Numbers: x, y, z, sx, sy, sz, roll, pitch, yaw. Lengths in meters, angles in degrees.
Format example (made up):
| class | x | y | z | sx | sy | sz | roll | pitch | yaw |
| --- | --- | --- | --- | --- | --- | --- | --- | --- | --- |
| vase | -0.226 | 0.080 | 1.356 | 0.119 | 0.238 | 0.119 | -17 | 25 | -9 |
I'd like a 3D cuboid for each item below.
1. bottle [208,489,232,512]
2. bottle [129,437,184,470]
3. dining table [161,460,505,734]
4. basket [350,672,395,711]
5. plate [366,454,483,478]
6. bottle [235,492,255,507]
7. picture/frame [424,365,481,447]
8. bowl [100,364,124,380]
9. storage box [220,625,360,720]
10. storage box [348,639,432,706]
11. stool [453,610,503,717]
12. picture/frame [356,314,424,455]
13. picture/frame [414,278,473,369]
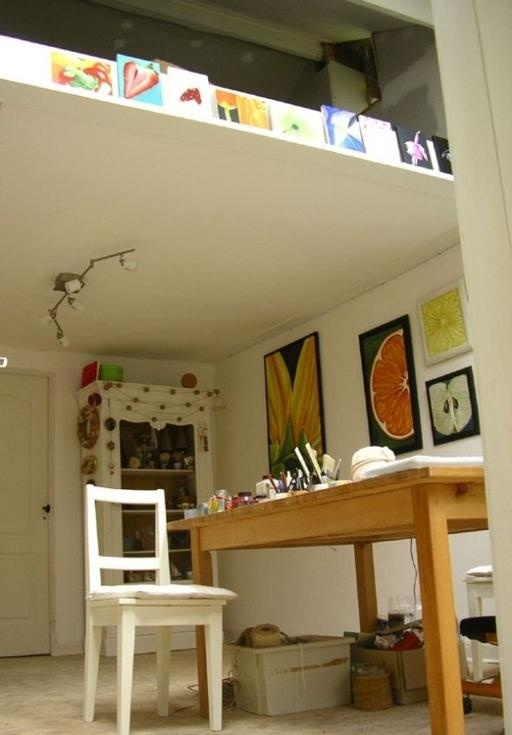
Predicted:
| class | x | y | z | sx | sy | sz | roll | pitch | yaw |
| --- | --- | --- | --- | --- | --- | --- | --- | --- | --- |
| bottle | -0.161 | 0.592 | 2.677 | 0.101 | 0.104 | 0.078 | 11 | -15 | -33 |
| bottle | -0.936 | 0.833 | 5.657 | 0.551 | 0.197 | 0.198 | 13 | -20 | -43 |
| dining table | 0.190 | 0.596 | 1.808 | 0.270 | 0.532 | 1.215 | 4 | -14 | -29 |
| basket | 0.470 | 1.284 | 2.464 | 0.147 | 0.110 | 0.146 | 5 | -11 | -28 |
| plate | 0.376 | 0.237 | 1.470 | 0.219 | 0.051 | 0.285 | 5 | -14 | -34 |
| bottle | -0.046 | 0.540 | 2.526 | 0.072 | 0.051 | 0.072 | 1 | -7 | 0 |
| picture/frame | 1.170 | 0.235 | 3.585 | 0.056 | 0.504 | 0.468 | 0 | -9 | -23 |
| bowl | -1.321 | 0.062 | 5.539 | 0.208 | 0.176 | 0.207 | -3 | -12 | -1 |
| storage box | 0.165 | 1.227 | 2.506 | 0.424 | 0.220 | 0.318 | 8 | -21 | -24 |
| storage box | 0.570 | 1.217 | 2.575 | 0.297 | 0.185 | 0.309 | -4 | -8 | 27 |
| stool | 0.728 | 0.913 | 1.937 | 0.133 | 0.156 | 0.107 | -9 | 27 | 9 |
| picture/frame | 0.962 | 0.147 | 4.373 | 0.120 | 0.969 | 0.573 | 2 | -13 | -22 |
| picture/frame | 1.164 | -0.250 | 3.734 | 0.074 | 0.538 | 0.448 | 12 | -29 | -30 |
